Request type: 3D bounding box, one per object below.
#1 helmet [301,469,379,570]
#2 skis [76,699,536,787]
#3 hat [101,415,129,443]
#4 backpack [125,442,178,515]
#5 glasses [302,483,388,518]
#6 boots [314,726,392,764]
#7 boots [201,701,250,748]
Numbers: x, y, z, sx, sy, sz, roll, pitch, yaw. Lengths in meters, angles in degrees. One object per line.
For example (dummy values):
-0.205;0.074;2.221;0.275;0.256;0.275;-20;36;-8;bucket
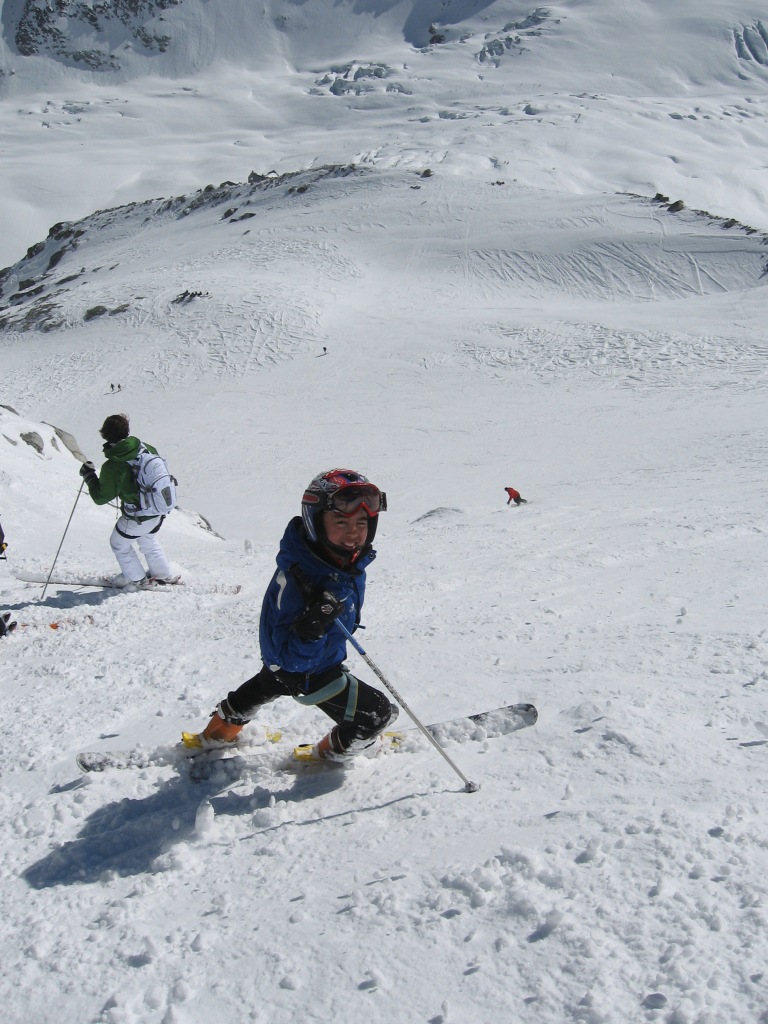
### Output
-0.185;0.030;4.362;0.398;0.419;0.400;0;3;-34;helmet
-0.374;1.110;4.919;1.858;0.125;0.180;-7;18;1;skis
-1.927;-0.606;7.474;0.200;0.202;0.232;1;-13;-31;hat
-1.724;-0.217;7.748;0.298;0.539;0.378;7;16;34;backpack
-0.173;-0.049;4.392;0.344;0.167;0.229;-2;13;-1;glasses
-0.140;1.096;4.849;0.293;0.072;0.082;-12;47;19;boots
-0.748;1.016;4.925;0.140;0.201;0.212;24;35;10;boots
